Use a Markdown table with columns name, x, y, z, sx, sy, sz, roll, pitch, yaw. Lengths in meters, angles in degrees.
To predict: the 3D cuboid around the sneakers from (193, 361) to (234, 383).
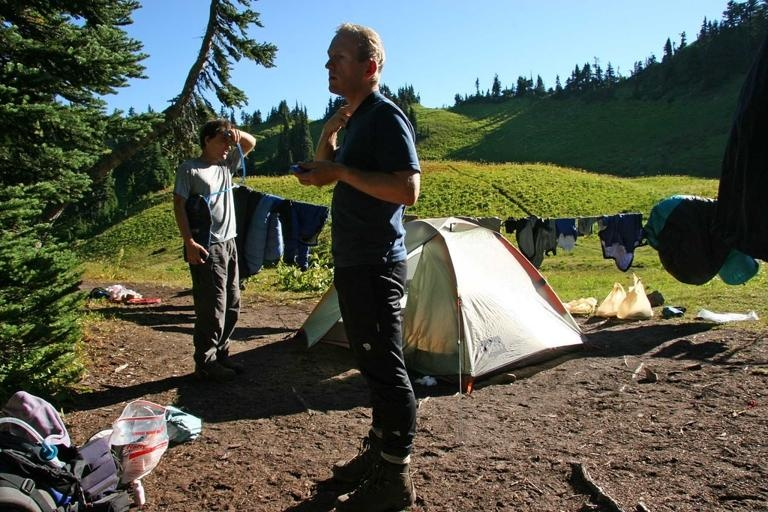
| name | x | y | z | sx | sy | sz | roll | pitch | yaw |
| --- | --- | --- | --- | --- | --- | --- | --- | --- | --- |
| sneakers | -1.948 | 1.335 | 6.054 | 0.428 | 0.178 | 0.211 | 2 | 33 | -19 |

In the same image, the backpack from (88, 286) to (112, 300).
| name | x | y | z | sx | sy | sz | roll | pitch | yaw |
| --- | --- | --- | --- | --- | --- | --- | --- | --- | --- |
| backpack | -5.465 | 0.733 | 10.197 | 0.333 | 0.140 | 0.470 | -6 | 12 | -28 |

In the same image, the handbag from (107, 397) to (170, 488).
| name | x | y | z | sx | sy | sz | roll | pitch | yaw |
| --- | --- | --- | --- | --- | --- | --- | --- | --- | --- |
| handbag | -1.999 | 1.549 | 4.336 | 0.404 | 0.497 | 0.529 | 6 | 5 | 16 |

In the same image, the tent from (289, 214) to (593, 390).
| name | x | y | z | sx | sy | sz | roll | pitch | yaw |
| --- | --- | --- | --- | --- | --- | --- | --- | --- | --- |
| tent | 0.916 | 0.611 | 7.573 | 2.737 | 1.570 | 2.371 | -1 | 1 | 43 |

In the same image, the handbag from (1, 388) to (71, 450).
| name | x | y | z | sx | sy | sz | roll | pitch | yaw |
| --- | --- | --- | --- | --- | --- | --- | --- | --- | --- |
| handbag | -2.643 | 1.264 | 4.053 | 0.409 | 0.259 | 0.532 | 5 | -34 | 52 |

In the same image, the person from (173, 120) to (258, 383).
| name | x | y | z | sx | sy | sz | roll | pitch | yaw |
| --- | --- | --- | --- | --- | --- | --- | --- | --- | --- |
| person | -1.945 | -0.049 | 6.076 | 0.519 | 2.992 | 0.932 | 1 | 11 | 9 |
